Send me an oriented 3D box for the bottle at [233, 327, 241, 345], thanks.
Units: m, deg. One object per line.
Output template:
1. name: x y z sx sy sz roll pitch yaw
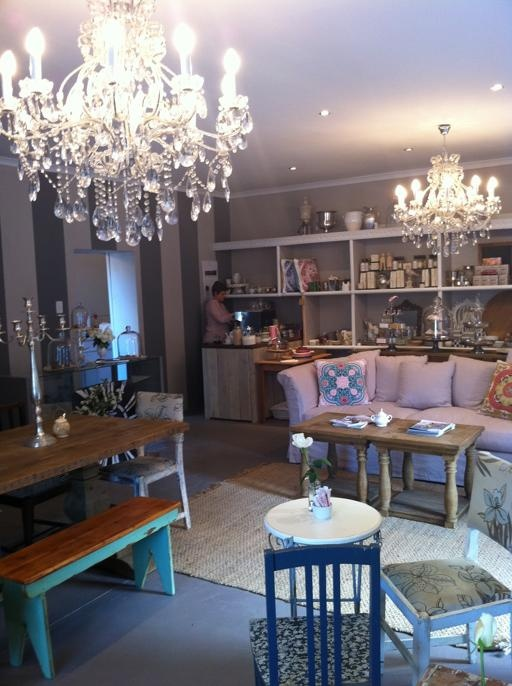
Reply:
1. bottle: -0.217 -0.081 6.701 0.082 0.199 0.243 -5 5 -28

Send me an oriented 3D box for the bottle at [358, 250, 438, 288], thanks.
1. bottle: 1.664 -0.848 6.448 0.956 0.411 0.105 0 5 30

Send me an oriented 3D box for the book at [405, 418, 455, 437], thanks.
1. book: 1.117 0.550 3.482 0.224 0.038 0.295 1 5 42

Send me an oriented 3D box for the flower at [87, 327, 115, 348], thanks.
1. flower: -1.300 -0.034 4.544 0.194 0.188 0.160 -4 4 -17

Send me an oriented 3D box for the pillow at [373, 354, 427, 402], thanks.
1. pillow: 1.239 0.312 4.628 0.403 0.389 0.158 -1 -9 31

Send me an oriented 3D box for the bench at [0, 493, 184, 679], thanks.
1. bench: -0.716 1.016 2.354 0.336 0.460 0.897 0 4 28

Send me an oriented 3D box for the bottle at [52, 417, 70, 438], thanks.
1. bottle: -1.070 0.460 3.015 0.080 0.093 0.121 -2 -5 26

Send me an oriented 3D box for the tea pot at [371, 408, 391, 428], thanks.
1. tea pot: 0.859 0.516 3.709 0.139 0.119 0.095 -5 7 12

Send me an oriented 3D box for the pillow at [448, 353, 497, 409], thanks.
1. pillow: 1.706 0.322 4.293 0.362 0.319 0.192 -4 15 43

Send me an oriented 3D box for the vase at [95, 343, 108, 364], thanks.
1. vase: -1.275 0.085 4.494 0.128 0.181 0.118 1 -2 9
